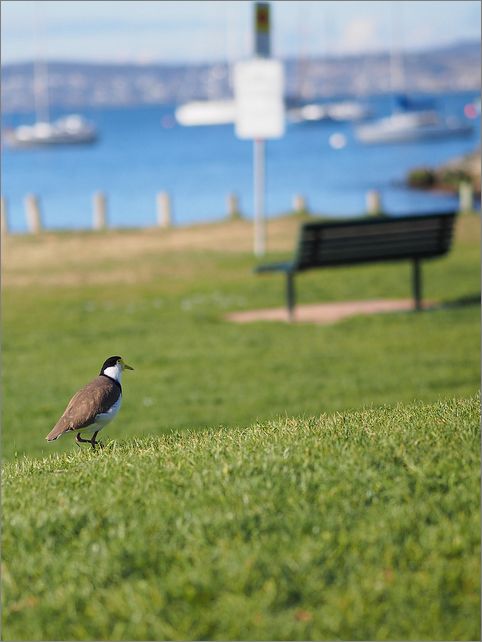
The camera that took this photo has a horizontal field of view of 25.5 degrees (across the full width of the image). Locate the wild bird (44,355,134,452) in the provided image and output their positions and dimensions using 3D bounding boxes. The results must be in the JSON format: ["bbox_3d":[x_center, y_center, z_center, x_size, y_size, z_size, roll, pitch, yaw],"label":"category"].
[{"bbox_3d":[-0.879,0.531,6.237,0.369,0.523,0.558,3,19,15],"label":"wild bird"}]
